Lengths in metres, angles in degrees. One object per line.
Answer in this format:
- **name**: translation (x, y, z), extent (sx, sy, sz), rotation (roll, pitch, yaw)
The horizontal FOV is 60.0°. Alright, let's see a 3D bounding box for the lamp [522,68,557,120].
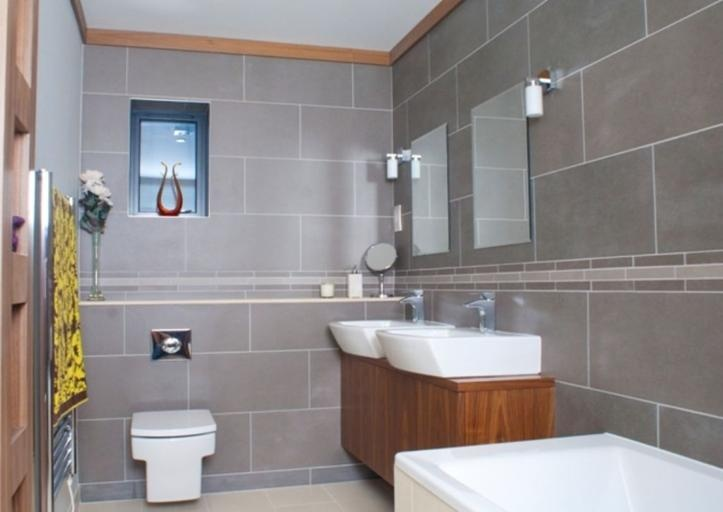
- **lamp**: translation (0.843, -0.770, 2.980), extent (0.180, 0.199, 0.109), rotation (-2, 1, -20)

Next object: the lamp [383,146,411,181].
- **lamp**: translation (0.235, -0.643, 4.311), extent (0.173, 0.180, 0.184), rotation (-1, 1, -11)

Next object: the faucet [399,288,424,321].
- **faucet**: translation (0.310, 0.304, 3.896), extent (0.133, 0.203, 0.098), rotation (-2, 4, -8)

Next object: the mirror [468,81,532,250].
- **mirror**: translation (0.713, -0.445, 3.234), extent (0.094, 0.864, 0.615), rotation (1, 11, -16)

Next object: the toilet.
- **toilet**: translation (-1.020, 1.036, 3.682), extent (0.621, 0.630, 0.447), rotation (0, 6, -13)

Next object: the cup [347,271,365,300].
- **cup**: translation (-0.044, 0.195, 4.264), extent (0.091, 0.161, 0.078), rotation (0, 11, -22)

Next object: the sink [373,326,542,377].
- **sink**: translation (0.480, 0.447, 2.892), extent (0.705, 0.208, 0.232), rotation (4, 10, -7)

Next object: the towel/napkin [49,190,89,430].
- **towel/napkin**: translation (-1.184, 0.150, 2.455), extent (0.062, 0.833, 0.714), rotation (-3, 0, -16)
